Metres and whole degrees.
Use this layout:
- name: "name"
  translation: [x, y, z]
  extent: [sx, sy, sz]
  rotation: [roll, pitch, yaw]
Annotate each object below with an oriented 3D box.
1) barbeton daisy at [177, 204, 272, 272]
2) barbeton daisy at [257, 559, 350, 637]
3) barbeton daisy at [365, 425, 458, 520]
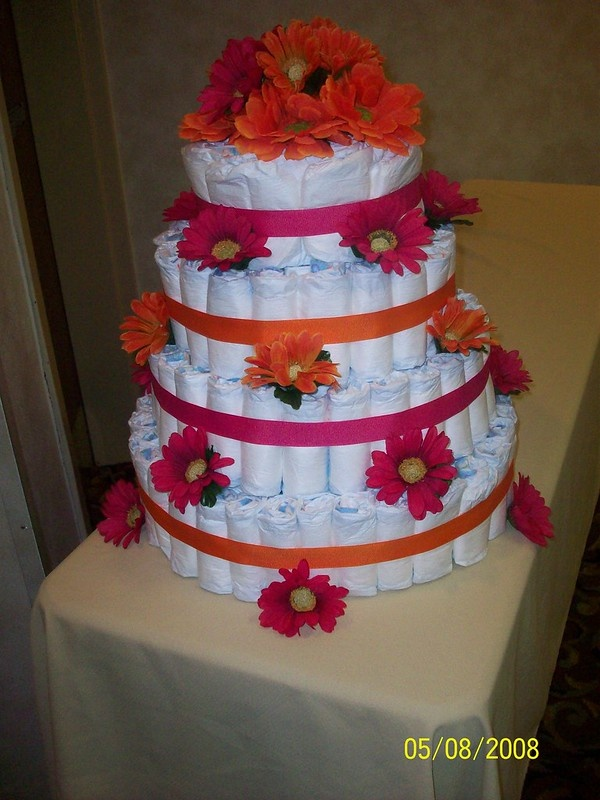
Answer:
- name: "barbeton daisy"
  translation: [-0.115, -0.234, 1.096]
  extent: [0.132, 0.093, 0.074]
  rotation: [-5, 31, -8]
- name: "barbeton daisy"
  translation: [0.005, 0.318, 1.207]
  extent: [0.139, 0.124, 0.039]
  rotation: [-19, -2, 0]
- name: "barbeton daisy"
  translation: [0.179, 0.116, 1.143]
  extent: [0.147, 0.045, 0.143]
  rotation: [-34, 81, -8]
